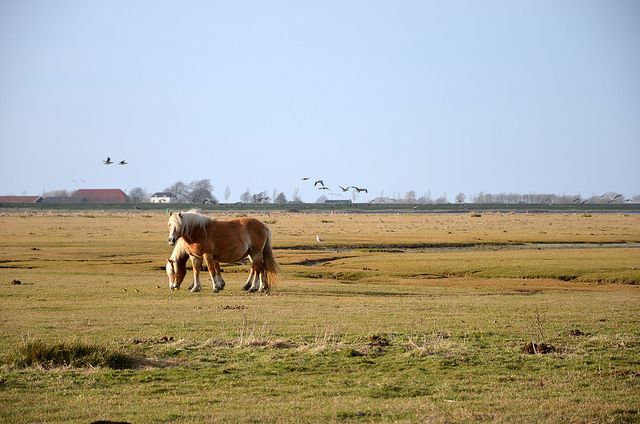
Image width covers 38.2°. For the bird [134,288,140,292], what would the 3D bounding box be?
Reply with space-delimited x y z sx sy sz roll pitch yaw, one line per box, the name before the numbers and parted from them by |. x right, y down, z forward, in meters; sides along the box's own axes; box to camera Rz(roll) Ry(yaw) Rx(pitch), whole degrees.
bird | -9.640 4.167 48.594 0.075 0.133 0.245 -32 26 -18

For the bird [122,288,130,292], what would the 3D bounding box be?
bird | -10.205 4.139 48.559 0.329 0.084 0.397 -2 15 -21
